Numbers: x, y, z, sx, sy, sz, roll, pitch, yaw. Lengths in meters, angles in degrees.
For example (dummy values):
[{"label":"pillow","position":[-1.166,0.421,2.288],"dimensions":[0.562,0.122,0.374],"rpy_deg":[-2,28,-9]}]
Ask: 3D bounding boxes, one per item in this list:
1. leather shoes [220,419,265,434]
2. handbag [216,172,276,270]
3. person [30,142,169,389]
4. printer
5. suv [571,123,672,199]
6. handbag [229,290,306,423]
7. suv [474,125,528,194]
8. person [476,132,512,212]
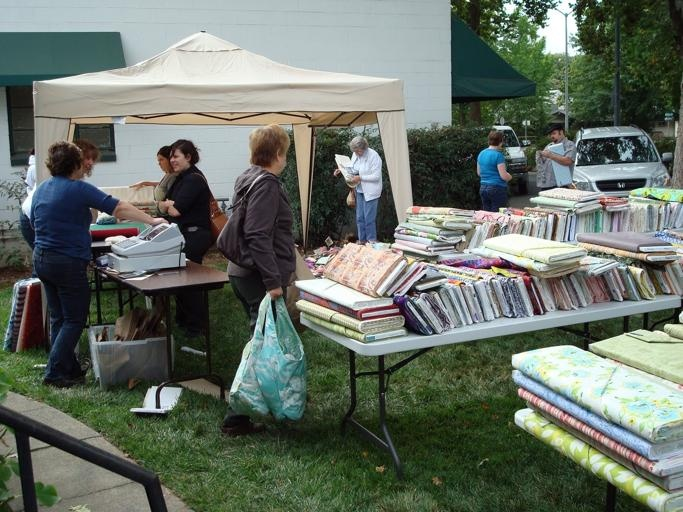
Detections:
[{"label":"leather shoes","position":[-0.731,1.243,4.519],"dimensions":[0.306,0.147,0.108],"rpy_deg":[1,2,-21]},{"label":"handbag","position":[-0.694,-0.267,4.452],"dimensions":[0.436,0.687,0.286],"rpy_deg":[1,10,6]},{"label":"person","position":[-2.285,0.072,5.378],"dimensions":[0.803,2.106,0.482],"rpy_deg":[-4,11,-22]},{"label":"printer","position":[-1.821,-0.141,5.728],"dimensions":[0.527,0.349,0.511],"rpy_deg":[-3,4,-31]},{"label":"suv","position":[5.289,-1.755,11.557],"dimensions":[1.417,1.273,2.416],"rpy_deg":[-1,4,17]},{"label":"handbag","position":[-0.528,0.731,4.352],"dimensions":[0.553,0.931,0.242],"rpy_deg":[-2,10,-12]},{"label":"suv","position":[4.794,-2.722,17.118],"dimensions":[1.581,1.737,3.292],"rpy_deg":[-1,11,-2]},{"label":"person","position":[2.404,-1.311,9.626],"dimensions":[0.485,1.285,0.960],"rpy_deg":[2,11,13]}]
